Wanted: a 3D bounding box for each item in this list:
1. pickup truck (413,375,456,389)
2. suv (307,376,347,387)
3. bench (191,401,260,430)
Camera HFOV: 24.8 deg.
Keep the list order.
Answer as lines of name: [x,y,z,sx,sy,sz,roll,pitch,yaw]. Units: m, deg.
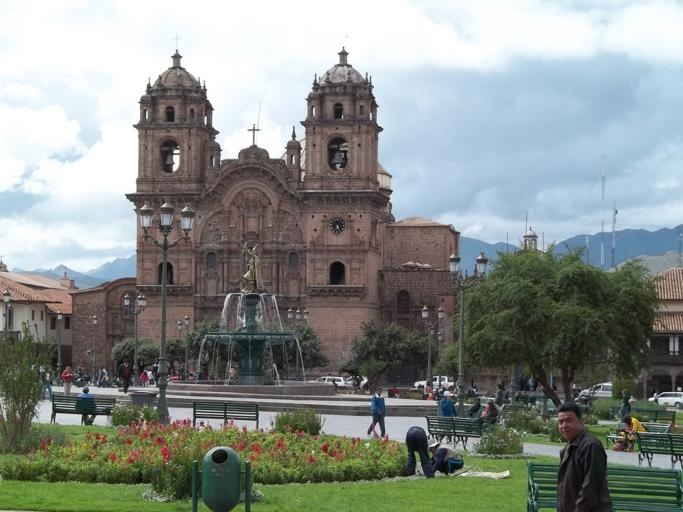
pickup truck: [5.272,7.860,89.964,2.504,1.196,1.278,1,-3,9]
suv: [-0.642,7.700,92.682,2.012,0.792,1.140,4,-5,0]
bench: [-4.116,5.649,54.342,2.054,1.302,4.444,-1,-13,-7]
